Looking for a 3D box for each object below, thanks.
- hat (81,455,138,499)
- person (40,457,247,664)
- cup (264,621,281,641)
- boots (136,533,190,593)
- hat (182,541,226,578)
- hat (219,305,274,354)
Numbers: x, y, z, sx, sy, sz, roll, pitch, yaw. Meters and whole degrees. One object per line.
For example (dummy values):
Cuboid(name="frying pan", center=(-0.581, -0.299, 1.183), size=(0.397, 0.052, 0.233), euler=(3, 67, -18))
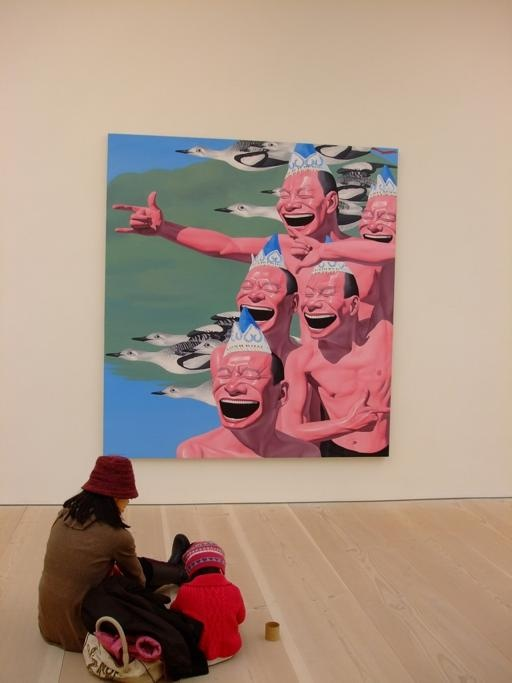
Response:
Cuboid(name="hat", center=(-0.543, 0.472, 2.301), size=(0.197, 0.099, 0.165), euler=(5, -1, 10))
Cuboid(name="person", center=(-0.316, 0.723, 2.528), size=(0.860, 0.719, 0.636), euler=(-7, 6, -37))
Cuboid(name="cup", center=(0.061, 1.064, 2.340), size=(0.063, 0.056, 0.062), euler=(1, 2, 0))
Cuboid(name="boots", center=(-0.372, 0.903, 2.663), size=(0.137, 0.230, 0.261), euler=(8, 20, -31))
Cuboid(name="hat", center=(-0.187, 0.805, 2.370), size=(0.125, 0.106, 0.152), euler=(2, -6, -8))
Cuboid(name="hat", center=(-0.043, -0.067, 3.972), size=(0.330, 0.281, 0.186), euler=(1, 10, 25))
